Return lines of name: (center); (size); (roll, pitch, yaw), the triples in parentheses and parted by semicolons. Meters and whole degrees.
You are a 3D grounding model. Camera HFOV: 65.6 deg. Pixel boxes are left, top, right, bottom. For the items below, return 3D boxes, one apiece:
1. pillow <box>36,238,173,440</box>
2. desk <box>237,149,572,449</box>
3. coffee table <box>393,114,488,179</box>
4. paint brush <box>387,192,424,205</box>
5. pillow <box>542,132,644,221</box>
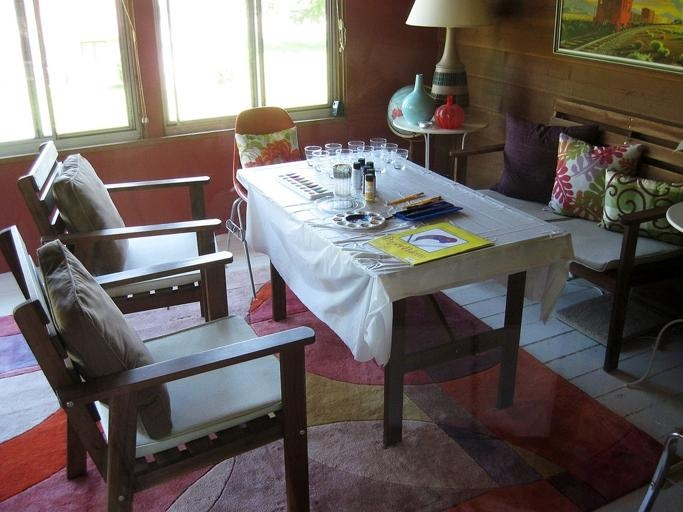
pillow: (-0.840, 0.294, 1.854); (0.326, 0.565, 0.634); (-14, 51, -31)
desk: (0.246, 0.166, 2.885); (1.227, 0.979, 1.680); (-7, 24, -17)
coffee table: (0.730, -0.925, 3.900); (0.571, 0.397, 0.580); (5, 27, 12)
paint brush: (0.319, -0.284, 2.641); (0.145, 0.033, 0.027); (-23, -12, -21)
pillow: (1.463, -0.452, 3.040); (0.480, 0.494, 0.177); (21, 8, 43)
